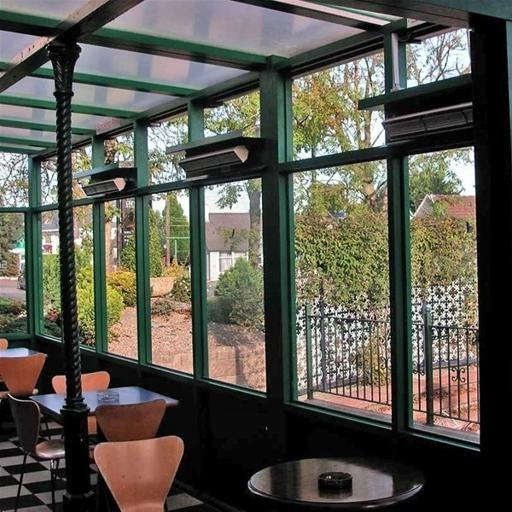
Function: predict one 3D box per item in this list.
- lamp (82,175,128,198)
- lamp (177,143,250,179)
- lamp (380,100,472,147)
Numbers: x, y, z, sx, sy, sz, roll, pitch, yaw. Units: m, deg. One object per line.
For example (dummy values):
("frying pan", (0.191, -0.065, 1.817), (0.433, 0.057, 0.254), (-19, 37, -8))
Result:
("lamp", (-1.667, -0.750, 6.535), (0.517, 0.175, 0.122), (-7, -4, 43))
("lamp", (-0.357, -0.740, 4.766), (0.166, 0.187, 0.889), (1, 1, -37))
("lamp", (0.922, -0.693, 3.147), (0.166, 0.105, 0.653), (1, 1, -33))
